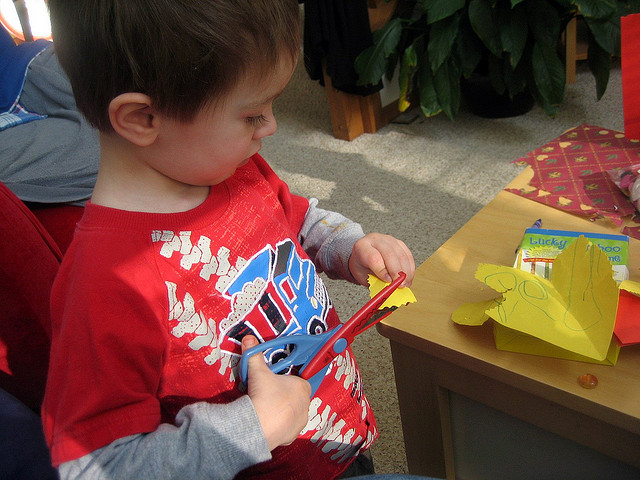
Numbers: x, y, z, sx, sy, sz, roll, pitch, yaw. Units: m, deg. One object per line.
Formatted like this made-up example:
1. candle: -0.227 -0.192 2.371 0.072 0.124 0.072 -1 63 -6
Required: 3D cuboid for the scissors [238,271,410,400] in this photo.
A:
1. scissors: 0.023 0.146 0.784 0.308 0.062 0.104 -31 58 -22
